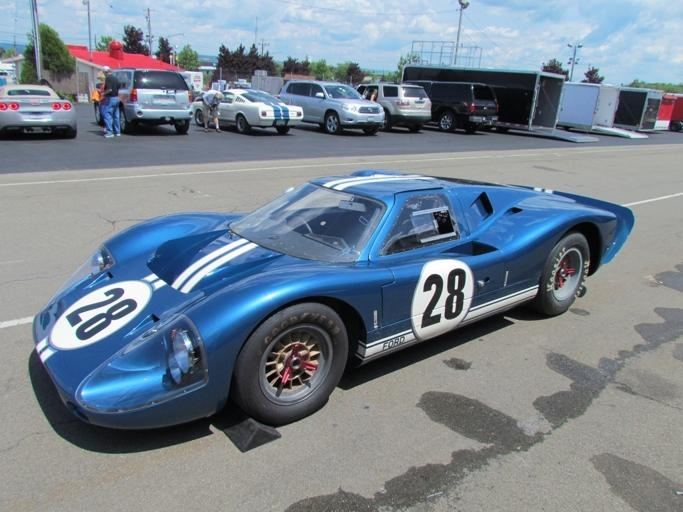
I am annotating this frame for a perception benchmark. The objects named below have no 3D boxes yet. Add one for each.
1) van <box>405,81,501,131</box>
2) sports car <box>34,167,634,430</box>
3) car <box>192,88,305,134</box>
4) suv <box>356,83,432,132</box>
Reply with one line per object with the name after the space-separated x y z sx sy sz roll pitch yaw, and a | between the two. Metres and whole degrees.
5.778 -7.872 23.328 2.621 1.787 4.417 -15 31 -32 | van
0.359 0.371 3.863 4.620 0.947 1.955 -11 24 -31 | sports car
-3.961 -5.996 18.368 4.100 1.754 1.665 12 20 27 | car
2.437 -7.523 21.857 2.077 1.434 3.517 -14 32 -28 | suv
